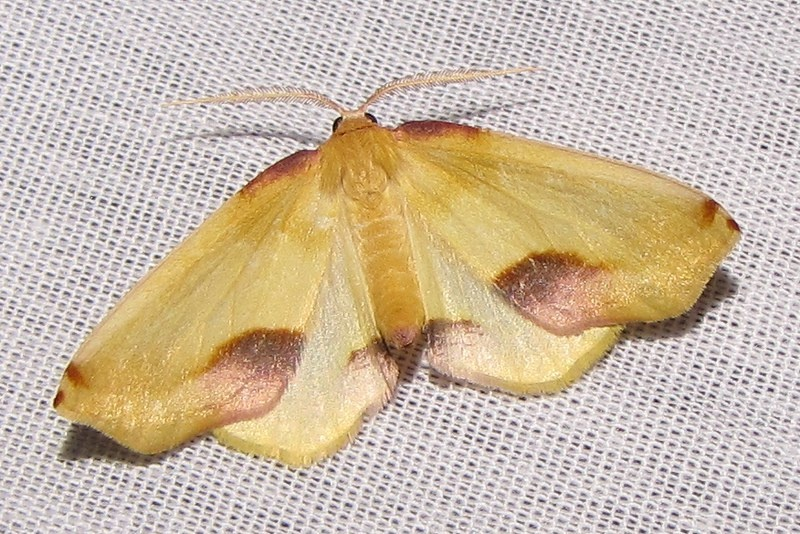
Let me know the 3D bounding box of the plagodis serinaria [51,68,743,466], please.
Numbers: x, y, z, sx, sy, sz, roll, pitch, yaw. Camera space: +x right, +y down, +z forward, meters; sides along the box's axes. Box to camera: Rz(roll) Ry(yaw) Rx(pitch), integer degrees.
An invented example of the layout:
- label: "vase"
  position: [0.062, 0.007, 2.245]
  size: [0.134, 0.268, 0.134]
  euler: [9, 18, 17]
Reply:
- label: "plagodis serinaria"
  position: [-0.048, -0.057, 3.519]
  size: [2.730, 0.284, 1.355]
  euler: [-13, 94, -8]
